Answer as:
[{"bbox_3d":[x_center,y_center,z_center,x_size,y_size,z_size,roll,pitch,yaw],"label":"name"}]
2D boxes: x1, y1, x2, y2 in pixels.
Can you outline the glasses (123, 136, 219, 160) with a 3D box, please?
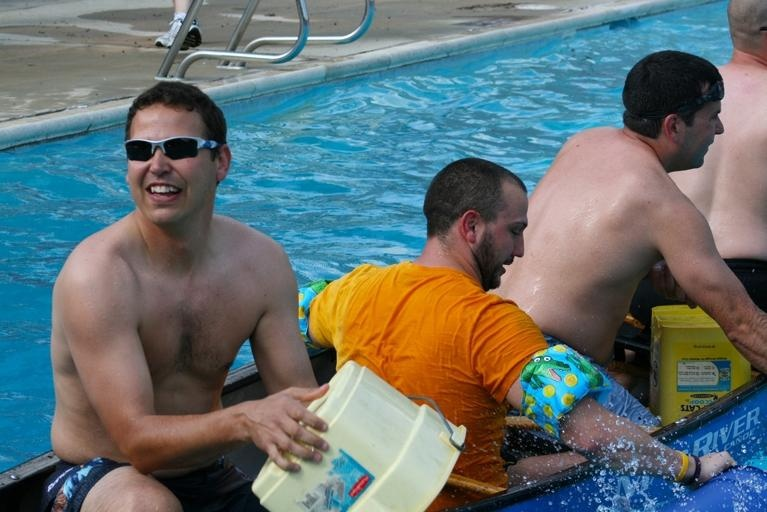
[{"bbox_3d":[-0.775,-0.392,2.908,0.345,0.086,0.118,-7,13,-10],"label":"glasses"}]
